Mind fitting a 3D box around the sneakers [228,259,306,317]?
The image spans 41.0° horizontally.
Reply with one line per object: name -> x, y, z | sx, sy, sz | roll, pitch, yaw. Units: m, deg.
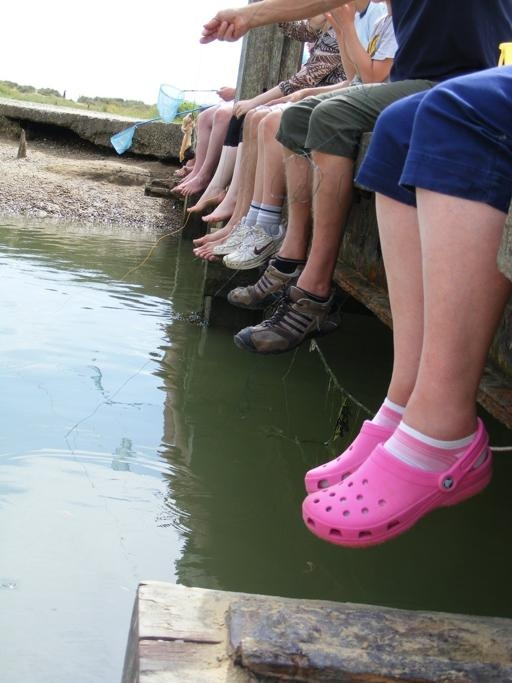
sneakers -> -0.011, -0.188, 2.152 | 0.350, 0.135, 0.112 | -9, 28, -40

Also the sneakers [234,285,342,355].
sneakers -> 0.077, -0.065, 1.877 | 0.369, 0.150, 0.120 | -20, 24, -38

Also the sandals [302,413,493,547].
sandals -> 0.173, 0.224, 1.014 | 0.299, 0.109, 0.134 | -21, 28, 7
